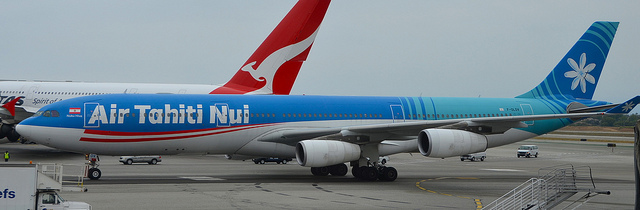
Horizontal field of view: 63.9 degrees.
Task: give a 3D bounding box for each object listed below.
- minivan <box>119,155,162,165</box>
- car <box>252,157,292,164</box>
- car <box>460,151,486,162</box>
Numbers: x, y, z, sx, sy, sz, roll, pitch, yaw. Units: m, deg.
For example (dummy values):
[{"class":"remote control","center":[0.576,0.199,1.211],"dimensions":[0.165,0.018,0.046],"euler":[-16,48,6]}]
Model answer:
[{"class":"minivan","center":[-24.372,7.409,69.163],"dimensions":[6.228,0.722,2.737],"euler":[1,-4,-6]},{"class":"car","center":[-5.452,7.844,70.789],"dimensions":[7.914,1.092,1.764],"euler":[1,-1,-3]},{"class":"car","center":[22.798,7.547,76.500],"dimensions":[3.002,1.571,3.804],"euler":[6,12,20]}]
